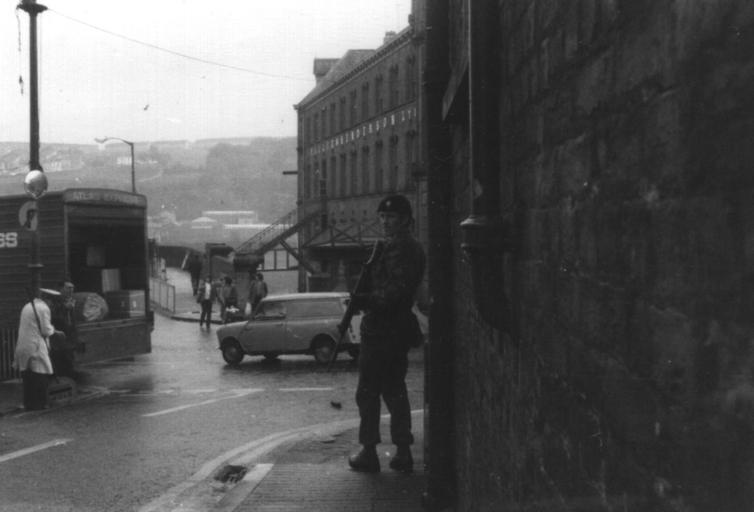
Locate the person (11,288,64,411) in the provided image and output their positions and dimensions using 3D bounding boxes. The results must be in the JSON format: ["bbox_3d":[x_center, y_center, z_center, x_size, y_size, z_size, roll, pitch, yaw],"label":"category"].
[{"bbox_3d":[-4.233,1.167,12.324,0.532,1.478,1.447,5,-4,-17],"label":"person"}]

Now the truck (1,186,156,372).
[{"bbox_3d":[-4.977,0.277,16.207,3.056,2.487,1.843,1,1,44],"label":"truck"}]

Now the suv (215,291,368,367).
[{"bbox_3d":[-1.512,1.282,16.846,2.072,1.052,1.292,1,-1,17],"label":"suv"}]

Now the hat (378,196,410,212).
[{"bbox_3d":[0.136,-0.377,7.173,0.237,0.160,0.219,4,-4,1],"label":"hat"}]
